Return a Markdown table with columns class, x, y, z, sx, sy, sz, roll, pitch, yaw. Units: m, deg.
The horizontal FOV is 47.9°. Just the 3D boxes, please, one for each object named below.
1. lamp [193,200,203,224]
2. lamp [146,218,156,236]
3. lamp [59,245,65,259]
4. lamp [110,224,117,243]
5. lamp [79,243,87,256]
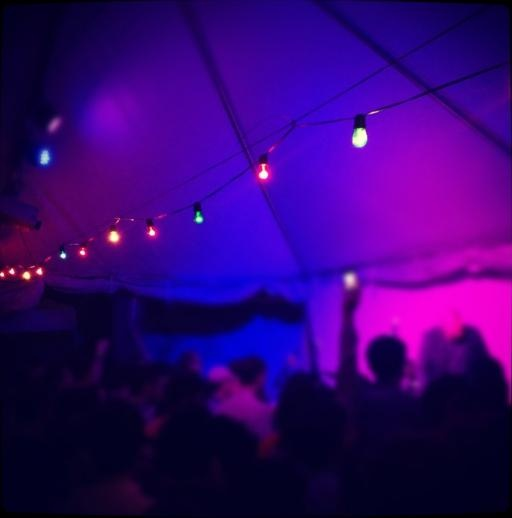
| class | x | y | z | sx | sy | sz | roll | pitch | yaw |
| --- | --- | --- | --- | --- | --- | --- | --- | --- | --- |
| lamp | -0.476 | -0.376 | 4.725 | 0.091 | 0.168 | 0.102 | -1 | -13 | 16 |
| lamp | -0.858 | -0.247 | 4.729 | 0.094 | 0.136 | 0.063 | 5 | -12 | -14 |
| lamp | -1.593 | -0.046 | 4.738 | 0.072 | 0.113 | 0.026 | 2 | -12 | 0 |
| lamp | -1.164 | -0.189 | 4.724 | 0.096 | 0.133 | 0.062 | 6 | -13 | -16 |
| lamp | -1.421 | -0.064 | 4.741 | 0.065 | 0.107 | 0.036 | -1 | -12 | 14 |
